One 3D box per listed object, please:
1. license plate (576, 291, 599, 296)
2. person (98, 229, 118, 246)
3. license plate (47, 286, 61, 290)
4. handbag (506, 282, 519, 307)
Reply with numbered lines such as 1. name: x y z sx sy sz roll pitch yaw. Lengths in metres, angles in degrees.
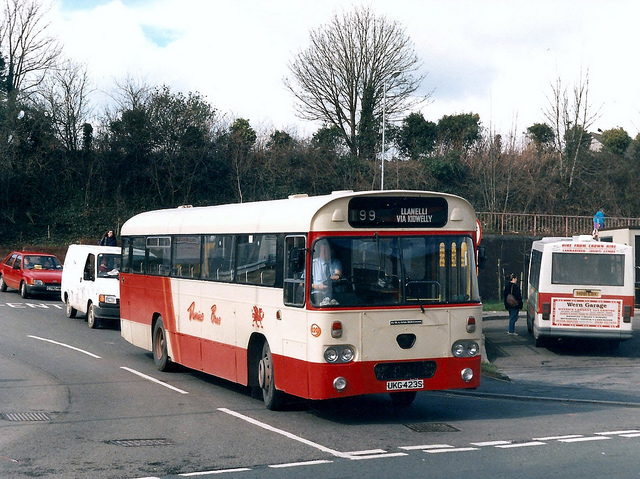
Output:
1. license plate: 8.471 1.733 23.984 0.682 0.130 0.043 3 1 13
2. person: -10.502 -0.098 37.328 0.821 1.377 0.482 6 -13 -15
3. license plate: -11.375 2.077 32.240 0.481 0.135 0.066 3 1 -22
4. handbag: 6.805 1.975 26.790 0.359 0.684 0.244 2 1 4
